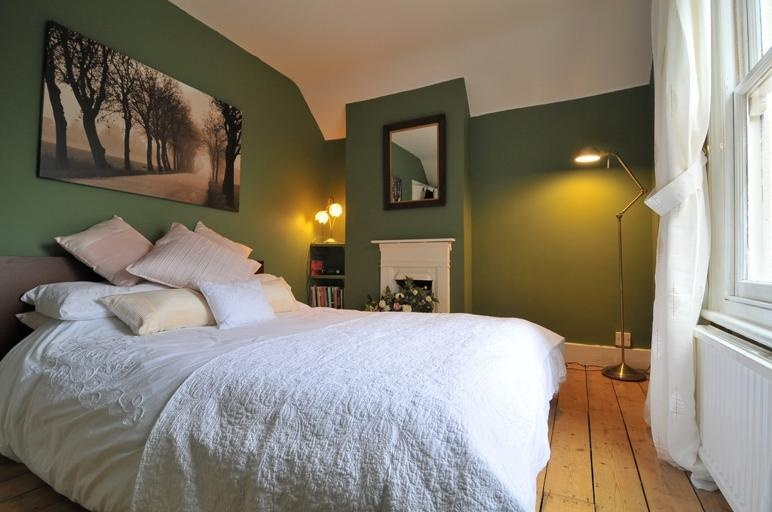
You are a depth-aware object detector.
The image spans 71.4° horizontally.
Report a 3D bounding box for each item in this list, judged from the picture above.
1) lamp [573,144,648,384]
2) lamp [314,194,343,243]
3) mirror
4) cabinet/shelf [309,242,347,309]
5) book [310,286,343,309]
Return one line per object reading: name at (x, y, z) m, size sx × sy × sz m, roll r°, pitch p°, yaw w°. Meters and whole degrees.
lamp at (2.225, 0.040, 5.237) m, size 0.676 × 2.205 × 0.687 m, roll 2°, pitch 5°, yaw 27°
lamp at (-0.712, -0.456, 6.588) m, size 0.341 × 0.561 × 0.411 m, roll 1°, pitch 4°, yaw 19°
mirror at (0.337, -1.042, 5.849) m, size 0.988 × 1.443 × 0.100 m, roll -1°, pitch -2°, yaw 27°
cabinet/shelf at (-0.702, 0.315, 6.521) m, size 0.399 × 1.047 × 0.263 m, roll 1°, pitch 12°, yaw -8°
book at (-0.697, 0.472, 6.341) m, size 0.238 × 0.358 × 0.339 m, roll -1°, pitch -1°, yaw 31°
